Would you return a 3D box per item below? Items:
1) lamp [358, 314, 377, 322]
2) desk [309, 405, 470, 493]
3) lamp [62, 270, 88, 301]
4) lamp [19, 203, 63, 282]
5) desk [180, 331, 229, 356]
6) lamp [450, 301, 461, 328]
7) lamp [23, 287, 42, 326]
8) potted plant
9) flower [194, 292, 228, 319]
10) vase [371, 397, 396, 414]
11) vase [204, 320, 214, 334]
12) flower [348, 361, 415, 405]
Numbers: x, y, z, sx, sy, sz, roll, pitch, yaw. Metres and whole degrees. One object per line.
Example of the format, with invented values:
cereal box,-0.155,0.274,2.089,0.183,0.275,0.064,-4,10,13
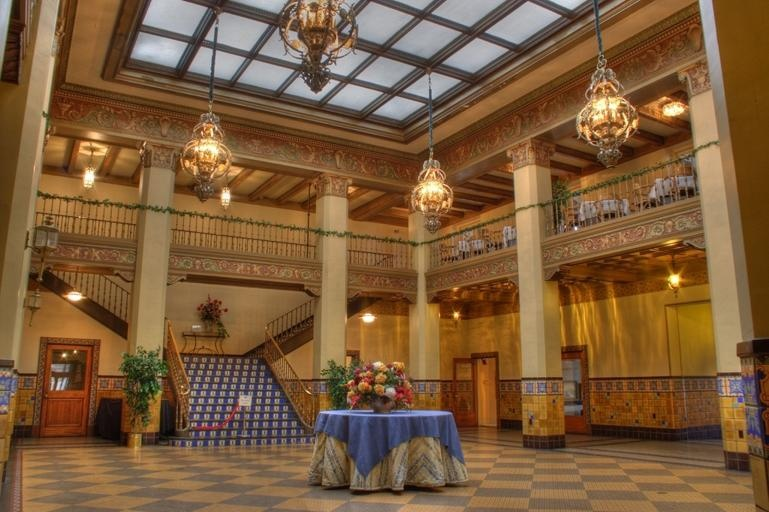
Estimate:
lamp,-0.479,2.174,19.725,0.614,0.290,0.581,4,-16,-20
desk,0.124,2.959,8.522,2.107,1.120,0.746,-2,-15,2
lamp,-9.083,0.864,16.369,0.599,1.113,1.617,7,-17,-30
lamp,-6.130,-0.171,9.981,0.470,1.341,0.423,8,-19,-38
desk,-6.126,3.020,18.541,1.337,0.668,0.745,9,-18,-28
lamp,2.669,2.170,20.258,0.411,0.776,0.637,-3,-15,7
lamp,-6.820,0.979,10.830,0.205,0.670,0.204,2,-14,0
potted plant,-5.719,3.291,13.212,0.996,2.296,0.782,0,-14,-4
flower,-5.760,1.706,18.621,1.004,0.854,0.360,4,-15,-19
vase,-0.005,2.373,8.945,0.291,0.186,0.297,-10,-15,36
vase,-5.820,2.379,18.605,0.375,0.423,0.379,-21,-27,39
flower,-0.071,2.170,9.365,0.934,0.724,0.997,-2,-15,11
